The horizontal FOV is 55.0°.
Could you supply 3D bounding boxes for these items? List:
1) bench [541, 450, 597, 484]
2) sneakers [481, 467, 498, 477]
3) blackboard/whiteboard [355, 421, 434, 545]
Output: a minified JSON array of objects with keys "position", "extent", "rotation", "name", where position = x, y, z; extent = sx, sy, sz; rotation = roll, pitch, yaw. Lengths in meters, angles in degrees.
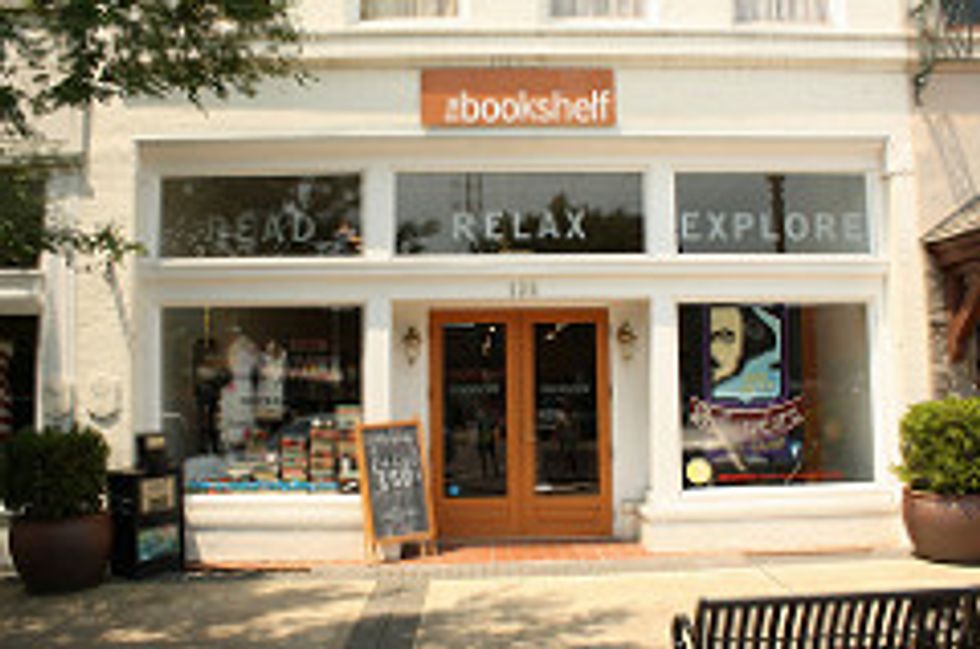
[{"position":[1.025,1.876,12.250],"extent":[0.732,0.414,0.135],"rotation":[-1,13,-2],"name":"bench"},{"position":[0.006,1.937,12.225],"extent":[0.212,0.107,0.040],"rotation":[-1,13,-2],"name":"sneakers"},{"position":[-1.185,1.982,11.543],"extent":[0.913,1.489,0.753],"rotation":[3,27,11],"name":"blackboard/whiteboard"}]
